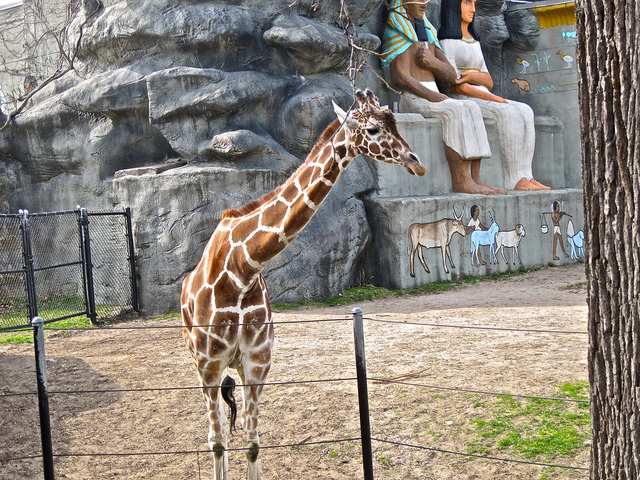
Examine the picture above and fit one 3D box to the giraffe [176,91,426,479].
[{"bbox_3d":[-0.519,0.619,18.588,2.688,5.213,1.031,-6,10,-19],"label":"giraffe"}]
